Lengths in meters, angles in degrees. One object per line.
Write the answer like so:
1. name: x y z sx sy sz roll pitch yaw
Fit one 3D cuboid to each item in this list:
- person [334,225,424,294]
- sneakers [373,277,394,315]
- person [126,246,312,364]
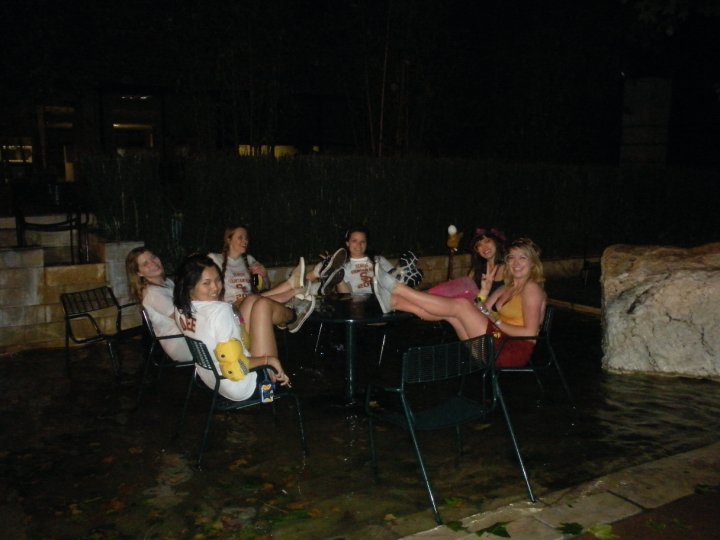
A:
1. person: 0.113 -0.109 5.571 0.836 0.658 0.296 18 -17 2
2. sneakers: 0.191 0.219 4.999 0.135 0.356 0.116 -12 3 -34
3. person: -1.176 0.210 5.666 1.830 1.190 0.905 -10 20 -36
